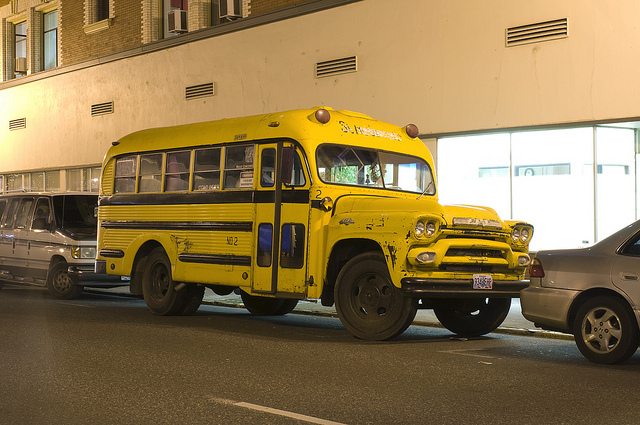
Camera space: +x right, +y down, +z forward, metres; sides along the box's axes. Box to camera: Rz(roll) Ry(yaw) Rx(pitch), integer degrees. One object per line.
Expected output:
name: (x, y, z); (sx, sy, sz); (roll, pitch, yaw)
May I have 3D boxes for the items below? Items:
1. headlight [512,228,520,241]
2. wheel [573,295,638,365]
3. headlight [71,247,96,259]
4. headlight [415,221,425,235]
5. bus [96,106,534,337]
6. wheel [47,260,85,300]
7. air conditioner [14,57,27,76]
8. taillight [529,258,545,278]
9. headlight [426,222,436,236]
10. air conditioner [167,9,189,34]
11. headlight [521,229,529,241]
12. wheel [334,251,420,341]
headlight: (3.589, 0.398, 10.262); (0.148, 0.219, 0.083); (6, -8, -12)
wheel: (4.124, 1.663, 8.059); (0.365, 1.184, 1.029); (5, -3, -38)
headlight: (-6.343, 1.076, 15.109); (0.377, 0.252, 0.388); (-1, -1, 30)
headlight: (1.597, 0.242, 9.031); (0.215, 0.239, 0.123); (1, 2, -36)
bus: (-0.634, 0.200, 12.068); (9.463, 4.345, 3.273); (-1, -3, 35)
wheel: (-7.039, 1.858, 15.626); (1.236, 1.303, 0.383); (-10, 2, 22)
air conditioner: (-17.495, -8.431, 32.861); (0.461, 1.076, 1.239); (3, -3, -40)
taillight: (3.398, 0.866, 8.854); (0.137, 0.302, 0.314); (1, -2, -7)
headlight: (1.787, 0.265, 9.092); (0.200, 0.234, 0.088); (2, -7, -13)
air conditioner: (-6.198, -8.344, 24.675); (0.699, 1.258, 1.279); (1, -2, -31)
headlight: (3.767, 0.408, 10.327); (0.136, 0.202, 0.047); (7, -8, -6)
wheel: (0.929, 1.405, 9.772); (1.433, 1.507, 0.515); (0, 3, 32)
